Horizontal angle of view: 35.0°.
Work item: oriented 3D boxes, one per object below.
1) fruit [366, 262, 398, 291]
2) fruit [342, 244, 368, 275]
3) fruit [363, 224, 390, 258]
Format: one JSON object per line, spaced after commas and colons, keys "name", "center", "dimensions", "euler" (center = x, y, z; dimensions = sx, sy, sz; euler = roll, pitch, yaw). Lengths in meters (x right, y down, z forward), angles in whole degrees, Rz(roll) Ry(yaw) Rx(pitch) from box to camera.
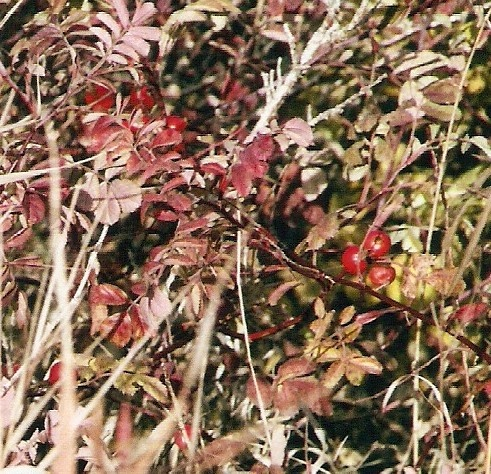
{"name": "fruit", "center": [0.184, 0.053, 1.049], "dimensions": [0.037, 0.041, 0.027], "euler": [1, 95, 5]}
{"name": "fruit", "center": [0.143, 0.032, 1.039], "dimensions": [0.023, 0.041, 0.035], "euler": [-24, 43, 32]}
{"name": "fruit", "center": [0.171, 0.013, 1.055], "dimensions": [0.040, 0.043, 0.031], "euler": [0, 95, 5]}
